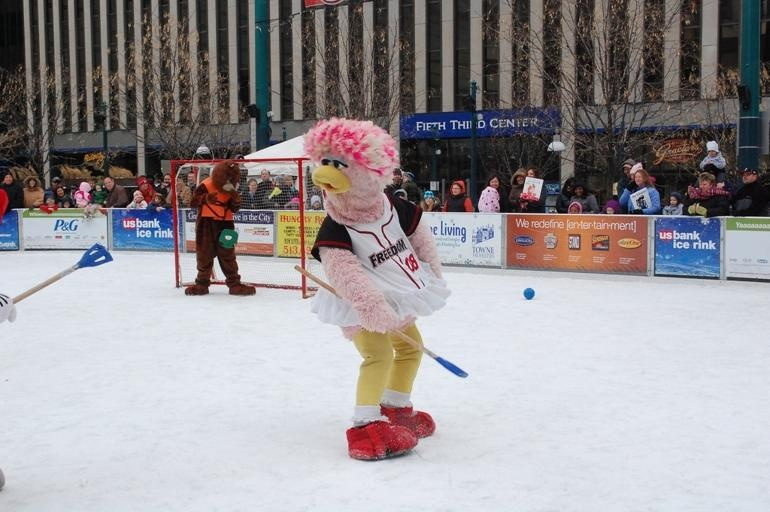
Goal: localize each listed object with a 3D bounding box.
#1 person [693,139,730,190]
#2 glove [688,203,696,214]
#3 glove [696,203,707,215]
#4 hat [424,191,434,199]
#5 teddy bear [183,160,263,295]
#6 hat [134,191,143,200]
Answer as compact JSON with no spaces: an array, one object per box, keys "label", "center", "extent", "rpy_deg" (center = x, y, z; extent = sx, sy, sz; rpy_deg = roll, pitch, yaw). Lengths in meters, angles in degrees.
[{"label":"person","center":[6.139,-1.702,17.692],"extent":[0.492,0.838,1.738],"rpy_deg":[0,8,19]},{"label":"glove","center":[5.330,-0.823,16.540],"extent":[0.089,0.155,0.160],"rpy_deg":[7,-1,10]},{"label":"glove","center":[5.472,-0.797,16.433],"extent":[0.181,0.166,0.100],"rpy_deg":[2,9,28]},{"label":"hat","center":[0.928,-1.281,19.787],"extent":[0.146,0.139,0.180],"rpy_deg":[-1,-2,-2]},{"label":"teddy bear","center":[-2.827,-0.463,16.108],"extent":[0.961,2.303,0.563],"rpy_deg":[0,8,18]},{"label":"hat","center":[-5.699,-1.424,22.129],"extent":[0.184,0.140,0.260],"rpy_deg":[-1,1,-23]}]
